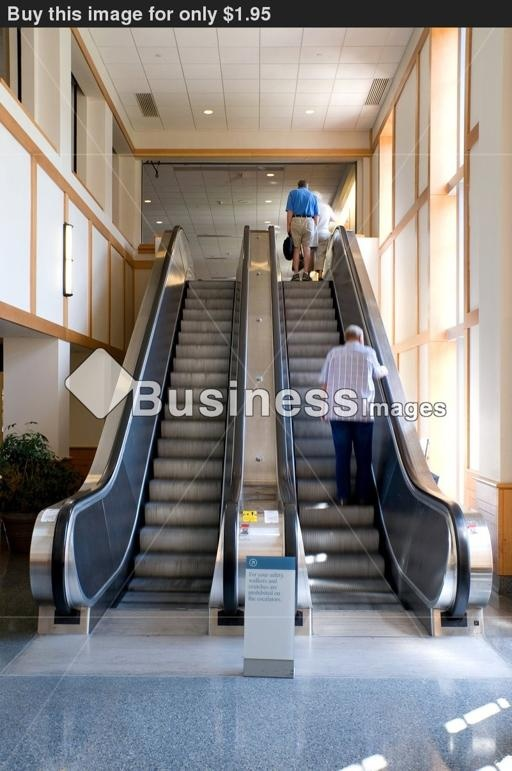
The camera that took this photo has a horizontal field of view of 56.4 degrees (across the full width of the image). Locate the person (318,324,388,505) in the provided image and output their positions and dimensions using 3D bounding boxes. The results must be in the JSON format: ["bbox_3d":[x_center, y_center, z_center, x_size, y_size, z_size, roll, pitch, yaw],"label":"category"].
[{"bbox_3d":[0.735,0.184,3.603,0.482,1.393,0.569,-1,-8,9],"label":"person"}]

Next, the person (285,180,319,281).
[{"bbox_3d":[0.645,-2.167,6.749,0.354,1.494,0.363,3,-6,-7],"label":"person"}]
